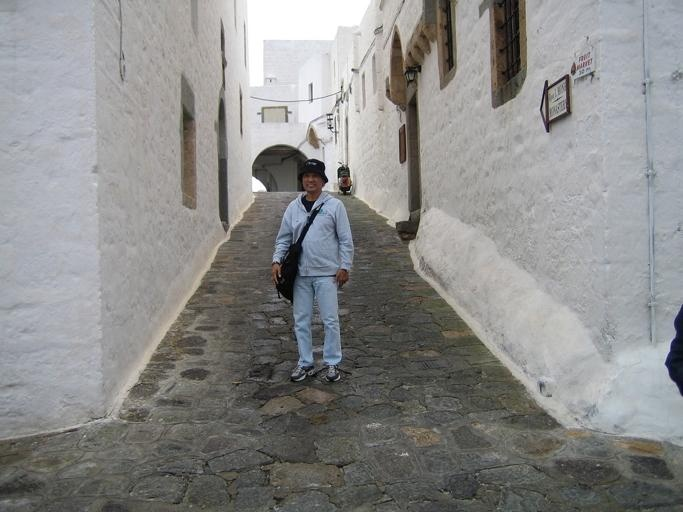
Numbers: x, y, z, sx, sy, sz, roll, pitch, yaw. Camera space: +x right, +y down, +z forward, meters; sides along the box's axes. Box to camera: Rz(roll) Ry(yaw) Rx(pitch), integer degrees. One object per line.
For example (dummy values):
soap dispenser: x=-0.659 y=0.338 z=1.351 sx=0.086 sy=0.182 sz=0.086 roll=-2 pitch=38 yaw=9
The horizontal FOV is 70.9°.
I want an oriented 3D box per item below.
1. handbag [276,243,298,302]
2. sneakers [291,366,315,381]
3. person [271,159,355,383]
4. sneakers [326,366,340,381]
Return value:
handbag: x=-0.464 y=0.141 z=4.166 sx=0.150 sy=0.448 sz=0.252 roll=9 pitch=-9 yaw=-17
sneakers: x=-0.347 y=1.021 z=4.187 sx=0.085 sy=0.120 sz=0.237 roll=-11 pitch=-14 yaw=42
person: x=-0.244 y=0.112 z=4.261 sx=0.698 sy=1.907 sz=0.731 roll=-7 pitch=13 yaw=-28
sneakers: x=-0.074 y=1.007 z=4.148 sx=0.108 sy=0.125 sz=0.082 roll=0 pitch=11 yaw=2
